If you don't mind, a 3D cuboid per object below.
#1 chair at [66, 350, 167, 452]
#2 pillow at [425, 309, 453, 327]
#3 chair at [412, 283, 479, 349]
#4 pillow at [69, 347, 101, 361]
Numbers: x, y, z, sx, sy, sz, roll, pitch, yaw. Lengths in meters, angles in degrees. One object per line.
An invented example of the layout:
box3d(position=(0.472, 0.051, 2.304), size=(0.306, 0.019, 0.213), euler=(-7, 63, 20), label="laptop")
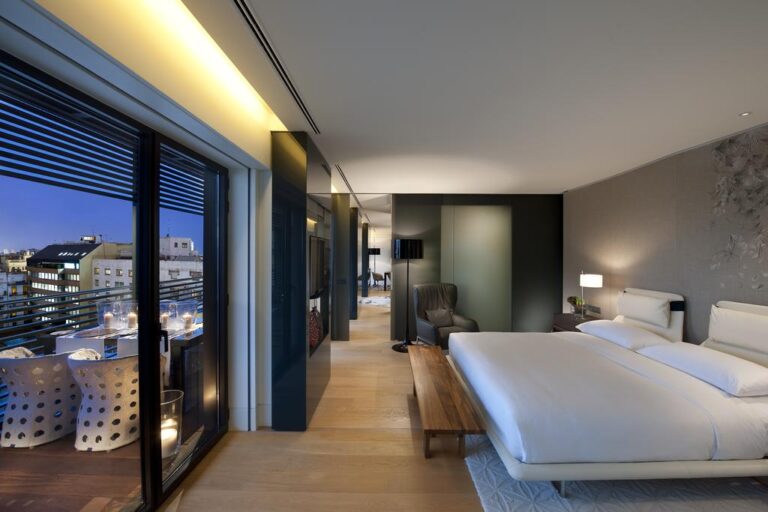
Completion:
box3d(position=(-2.045, 1.046, 3.706), size=(0.701, 0.825, 0.618), euler=(1, 3, -7), label="chair")
box3d(position=(0.789, 0.855, 6.664), size=(0.273, 0.264, 0.066), euler=(5, -20, -14), label="pillow")
box3d(position=(0.773, 0.815, 6.608), size=(0.739, 1.051, 0.881), euler=(1, -14, -7), label="chair")
box3d(position=(-2.150, 0.686, 3.378), size=(0.092, 0.043, 0.108), euler=(3, 3, 17), label="pillow")
